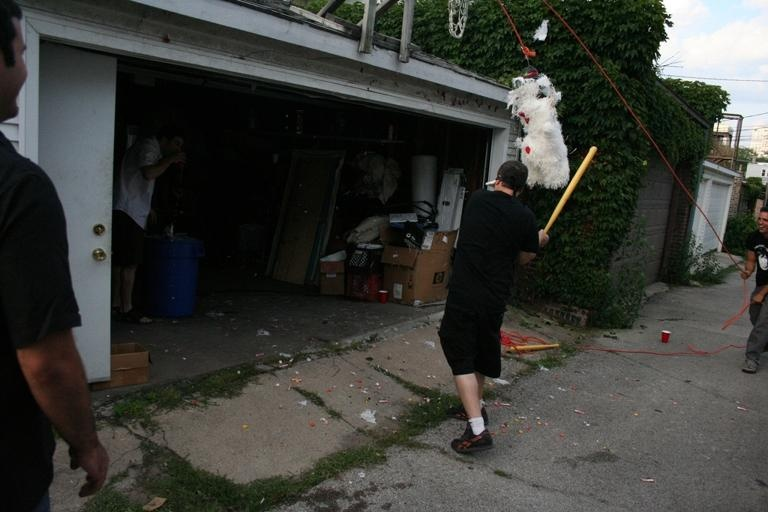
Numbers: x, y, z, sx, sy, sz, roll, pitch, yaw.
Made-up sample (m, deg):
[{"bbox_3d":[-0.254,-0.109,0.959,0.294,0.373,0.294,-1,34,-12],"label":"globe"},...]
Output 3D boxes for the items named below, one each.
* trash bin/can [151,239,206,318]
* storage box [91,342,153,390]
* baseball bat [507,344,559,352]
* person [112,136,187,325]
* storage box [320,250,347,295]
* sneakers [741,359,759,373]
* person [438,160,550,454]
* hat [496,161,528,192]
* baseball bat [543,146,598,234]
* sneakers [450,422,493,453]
[{"bbox_3d":[-2.779,0.240,6.698,0.748,0.967,0.732,4,3,-16],"label":"trash bin/can"},{"bbox_3d":[-2.512,0.991,4.784,0.435,0.269,0.447,16,5,36],"label":"storage box"},{"bbox_3d":[1.857,1.160,6.479,0.603,0.082,0.080,1,-22,-31],"label":"baseball bat"},{"bbox_3d":[-2.963,-0.311,6.152,0.663,2.238,0.436,0,10,-23],"label":"person"},{"bbox_3d":[-0.826,0.293,8.449,0.487,0.633,0.391,1,12,12],"label":"storage box"},{"bbox_3d":[4.646,1.389,6.458,0.119,0.124,0.280,3,9,34],"label":"sneakers"},{"bbox_3d":[0.880,0.404,4.377,0.644,2.438,0.780,8,10,23],"label":"person"},{"bbox_3d":[1.088,-0.705,4.518,0.222,0.294,0.292,0,28,-9],"label":"hat"},{"bbox_3d":[2.595,-0.913,7.027,0.185,1.620,0.159,30,0,-30],"label":"baseball bat"},{"bbox_3d":[0.722,1.527,4.346,0.410,0.280,0.173,-2,0,28],"label":"sneakers"}]
